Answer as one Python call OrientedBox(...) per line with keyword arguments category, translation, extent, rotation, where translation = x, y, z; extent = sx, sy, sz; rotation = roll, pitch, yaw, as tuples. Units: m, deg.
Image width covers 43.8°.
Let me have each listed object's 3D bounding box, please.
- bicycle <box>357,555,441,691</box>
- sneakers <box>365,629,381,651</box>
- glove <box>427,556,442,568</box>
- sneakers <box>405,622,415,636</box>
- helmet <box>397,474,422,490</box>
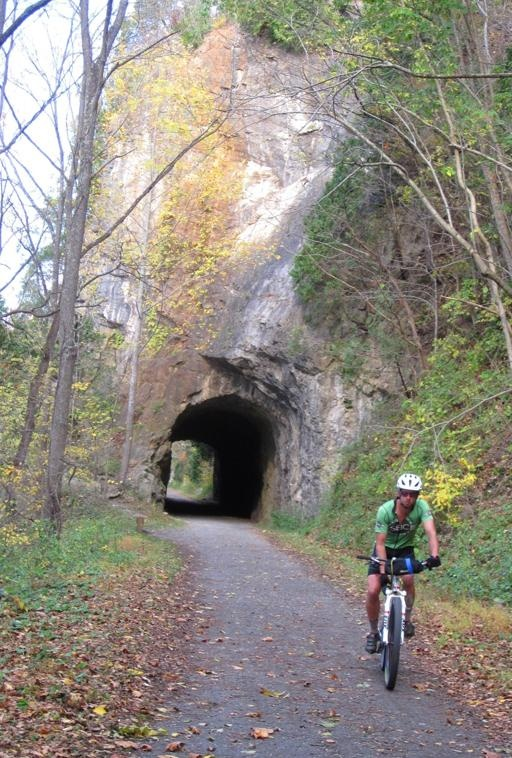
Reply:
OrientedBox(category="bicycle", translation=(1.176, 2.034, 5.512), extent=(0.653, 1.107, 1.167), rotation=(5, -8, 13))
OrientedBox(category="sneakers", translation=(1.022, 2.307, 5.564), extent=(0.085, 0.237, 0.107), rotation=(14, -38, 0))
OrientedBox(category="glove", translation=(1.459, 1.507, 5.249), extent=(0.062, 0.099, 0.134), rotation=(22, -23, -2))
OrientedBox(category="sneakers", translation=(1.250, 2.048, 5.206), extent=(0.068, 0.052, 0.125), rotation=(-1, -9, 5))
OrientedBox(category="helmet", translation=(1.309, 0.881, 5.409), extent=(0.194, 0.148, 0.197), rotation=(8, -8, -8))
